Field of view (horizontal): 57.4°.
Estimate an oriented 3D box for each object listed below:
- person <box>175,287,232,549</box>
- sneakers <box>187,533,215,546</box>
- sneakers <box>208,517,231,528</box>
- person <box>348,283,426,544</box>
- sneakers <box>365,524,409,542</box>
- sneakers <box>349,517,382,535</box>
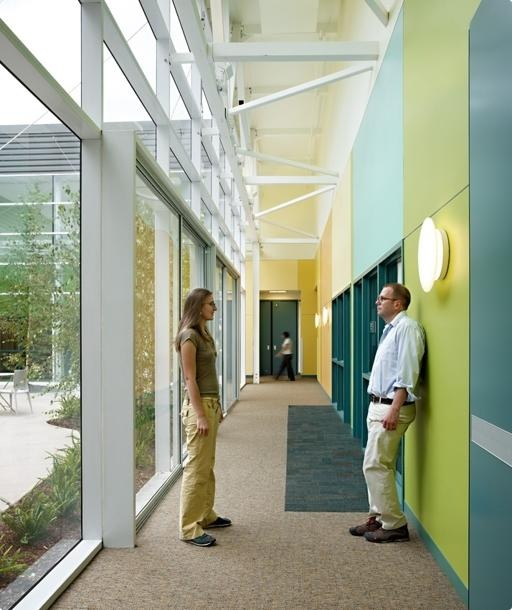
[{"bbox_3d":[-0.353,0.700,3.081,0.346,1.644,0.499,1,-5,-3],"label":"person"},{"bbox_3d":[-0.336,1.440,2.905,0.164,0.089,0.070,-2,-4,15],"label":"sneakers"},{"bbox_3d":[-0.253,1.525,3.270,0.155,0.081,0.069,-2,-3,-15],"label":"sneakers"},{"bbox_3d":[0.864,0.677,3.004,0.339,1.676,0.550,3,-5,-21],"label":"person"},{"bbox_3d":[0.832,1.454,2.997,0.255,0.161,0.112,0,-7,3],"label":"sneakers"},{"bbox_3d":[0.713,1.458,3.105,0.217,0.134,0.091,-3,-5,4],"label":"sneakers"}]
